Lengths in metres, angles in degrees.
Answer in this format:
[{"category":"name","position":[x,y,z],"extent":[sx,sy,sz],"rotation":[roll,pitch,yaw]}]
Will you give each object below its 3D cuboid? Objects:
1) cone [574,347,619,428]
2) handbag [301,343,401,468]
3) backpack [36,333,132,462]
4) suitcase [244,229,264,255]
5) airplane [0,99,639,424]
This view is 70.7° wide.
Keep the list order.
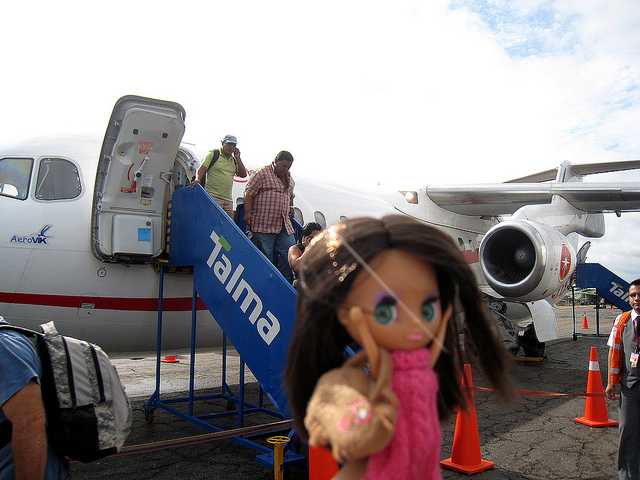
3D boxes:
[{"category":"cone","position":[3.480,1.852,5.757],"extent":[0.638,0.962,0.688],"rotation":[6,-17,12]},{"category":"handbag","position":[0.149,0.589,1.687],"extent":[0.345,0.166,0.473],"rotation":[15,27,37]},{"category":"backpack","position":[-1.226,0.783,2.499],"extent":[0.394,0.718,0.494],"rotation":[-2,8,2]},{"category":"suitcase","position":[-0.713,0.016,4.955],"extent":[0.081,0.244,0.183],"rotation":[-26,9,-15]},{"category":"airplane","position":[3.682,-0.272,6.833],"extent":[14.253,3.618,7.122],"rotation":[2,-5,-33]}]
